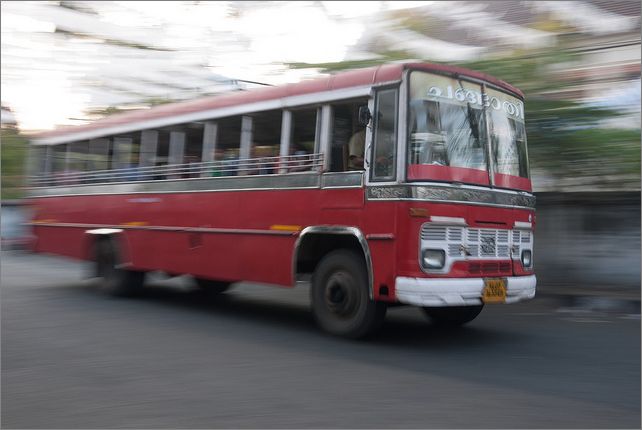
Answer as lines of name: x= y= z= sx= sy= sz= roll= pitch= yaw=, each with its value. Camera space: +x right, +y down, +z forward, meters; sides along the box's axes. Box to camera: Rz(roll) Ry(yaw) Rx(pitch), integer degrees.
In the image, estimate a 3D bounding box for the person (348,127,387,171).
person: x=0.511 y=-0.931 z=6.547 sx=0.139 sy=0.584 sz=0.363 roll=0 pitch=1 yaw=-33
